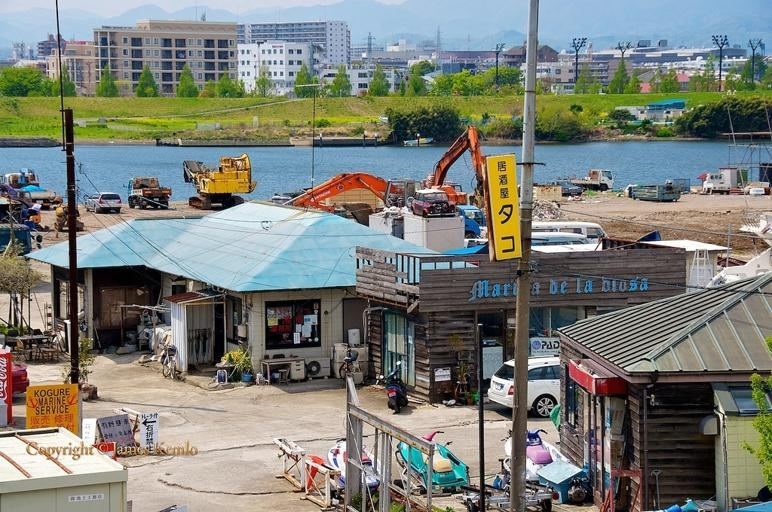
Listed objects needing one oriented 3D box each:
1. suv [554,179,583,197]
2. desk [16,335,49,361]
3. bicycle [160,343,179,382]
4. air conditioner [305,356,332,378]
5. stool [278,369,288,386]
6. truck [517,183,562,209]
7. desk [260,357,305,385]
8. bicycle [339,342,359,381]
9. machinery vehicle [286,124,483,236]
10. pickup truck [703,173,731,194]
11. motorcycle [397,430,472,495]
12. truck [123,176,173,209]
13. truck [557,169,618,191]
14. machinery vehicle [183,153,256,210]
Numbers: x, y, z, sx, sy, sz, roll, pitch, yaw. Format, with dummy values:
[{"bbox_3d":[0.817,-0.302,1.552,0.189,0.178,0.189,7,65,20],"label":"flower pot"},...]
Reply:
[{"bbox_3d":[13.863,-5.246,110.671,1.326,0.812,2.611,-2,7,-13],"label":"suv"},{"bbox_3d":[-15.375,3.949,62.018,1.294,0.937,0.798,-3,8,-14],"label":"desk"},{"bbox_3d":[-9.154,4.326,60.111,0.700,1.312,1.638,-2,8,-10],"label":"bicycle"},{"bbox_3d":[-2.887,4.586,59.060,1.281,0.946,0.733,0,-3,-25],"label":"air conditioner"},{"bbox_3d":[-4.260,4.898,58.730,0.546,0.666,0.514,0,-1,-4],"label":"stool"},{"bbox_3d":[11.654,-4.626,104.219,2.007,1.169,5.063,0,8,8],"label":"truck"},{"bbox_3d":[-4.225,4.647,58.631,1.848,0.980,0.526,-3,8,-18],"label":"desk"},{"bbox_3d":[-1.547,4.373,58.552,0.807,1.349,1.114,-2,8,-13],"label":"bicycle"},{"bbox_3d":[0.066,-4.905,79.540,10.472,4.868,16.299,-2,8,-11],"label":"machinery vehicle"},{"bbox_3d":[26.048,-5.762,113.046,1.876,1.698,1.399,2,-3,-5],"label":"pickup truck"},{"bbox_3d":[1.582,7.316,49.710,1.739,1.339,2.742,-3,12,-27],"label":"motorcycle"},{"bbox_3d":[-16.995,-4.530,100.988,1.943,1.761,3.396,0,4,-24],"label":"truck"},{"bbox_3d":[16.351,-6.103,116.068,3.912,1.701,2.257,-3,6,-24],"label":"truck"},{"bbox_3d":[-12.088,-5.323,98.280,2.986,3.677,8.101,-2,9,-35],"label":"machinery vehicle"}]
